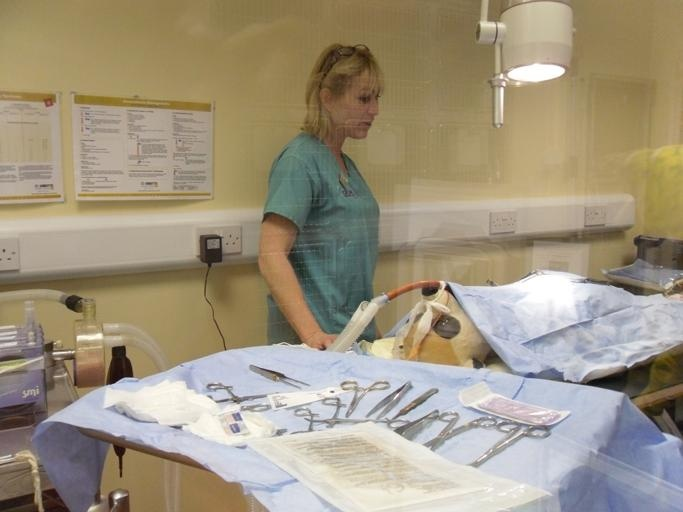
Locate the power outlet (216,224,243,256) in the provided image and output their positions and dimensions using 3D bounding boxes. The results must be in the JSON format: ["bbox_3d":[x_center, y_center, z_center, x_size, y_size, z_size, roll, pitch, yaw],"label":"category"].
[{"bbox_3d":[-0.206,-0.032,0.973,0.054,0.053,0.029,0,4,-10],"label":"power outlet"}]
